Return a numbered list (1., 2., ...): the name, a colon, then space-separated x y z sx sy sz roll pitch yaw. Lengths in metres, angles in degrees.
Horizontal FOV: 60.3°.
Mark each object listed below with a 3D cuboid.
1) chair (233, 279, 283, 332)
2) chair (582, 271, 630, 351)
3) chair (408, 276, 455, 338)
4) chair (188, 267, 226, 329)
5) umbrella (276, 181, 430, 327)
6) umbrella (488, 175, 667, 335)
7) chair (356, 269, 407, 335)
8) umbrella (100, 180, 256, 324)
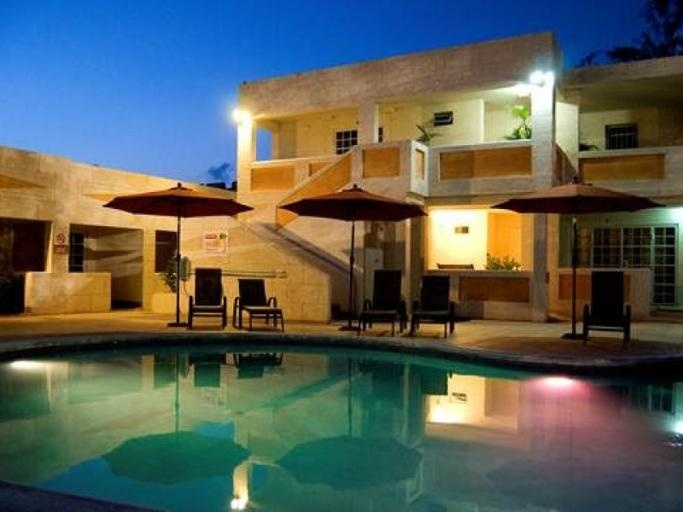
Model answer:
1. chair: -1.834 1.034 12.771 0.816 1.000 1.303 1 -1 -24
2. chair: 5.163 1.045 11.330 0.810 1.266 1.204 3 17 28
3. chair: 1.929 1.036 12.281 0.900 1.145 1.348 -1 2 11
4. chair: -3.081 0.980 13.548 0.912 1.297 0.952 0 -6 0
5. umbrella: 0.280 -0.190 13.258 3.126 2.887 3.263 -1 -3 18
6. umbrella: 6.017 -0.005 14.792 3.658 3.198 3.580 1 -3 -30
7. chair: 0.894 0.901 12.446 0.901 1.178 1.709 0 0 15
8. umbrella: -3.945 -0.008 13.520 2.468 3.272 2.720 -3 5 -34
